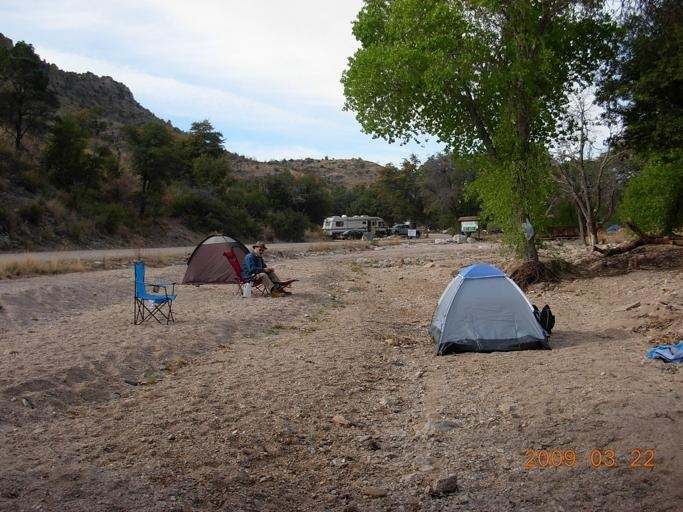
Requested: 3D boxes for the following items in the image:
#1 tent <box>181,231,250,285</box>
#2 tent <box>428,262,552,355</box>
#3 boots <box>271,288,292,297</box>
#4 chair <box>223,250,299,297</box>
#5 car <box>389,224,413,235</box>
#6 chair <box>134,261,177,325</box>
[{"bbox_3d":[-4.245,0.136,18.549,1.943,1.304,1.950,3,4,39],"label":"tent"},{"bbox_3d":[3.219,0.935,12.065,2.460,1.856,2.845,-7,7,-4],"label":"tent"},{"bbox_3d":[-1.817,1.099,16.503,0.690,0.314,0.232,-5,-3,24],"label":"boots"},{"bbox_3d":[-2.665,0.389,16.845,2.422,1.543,0.898,2,1,22],"label":"chair"},{"bbox_3d":[6.492,-2.976,58.548,1.895,0.936,1.074,2,-2,-25],"label":"car"},{"bbox_3d":[-5.184,1.035,14.749,1.208,1.811,1.521,0,0,-5],"label":"chair"}]
